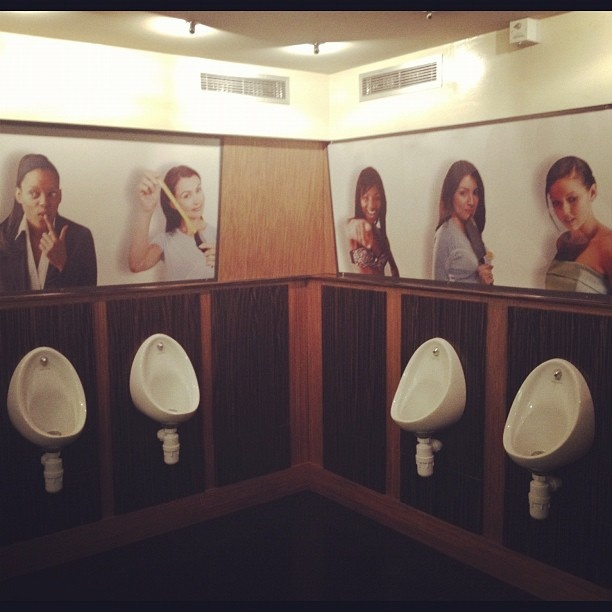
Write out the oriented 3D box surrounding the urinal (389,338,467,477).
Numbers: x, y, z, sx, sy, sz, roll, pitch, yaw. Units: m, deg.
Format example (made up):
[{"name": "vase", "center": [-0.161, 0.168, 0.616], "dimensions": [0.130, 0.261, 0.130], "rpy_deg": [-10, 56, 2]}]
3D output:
[{"name": "urinal", "center": [0.612, 0.441, 2.875], "dimensions": [0.315, 0.745, 0.315], "rpy_deg": [-10, 18, -42]}]
